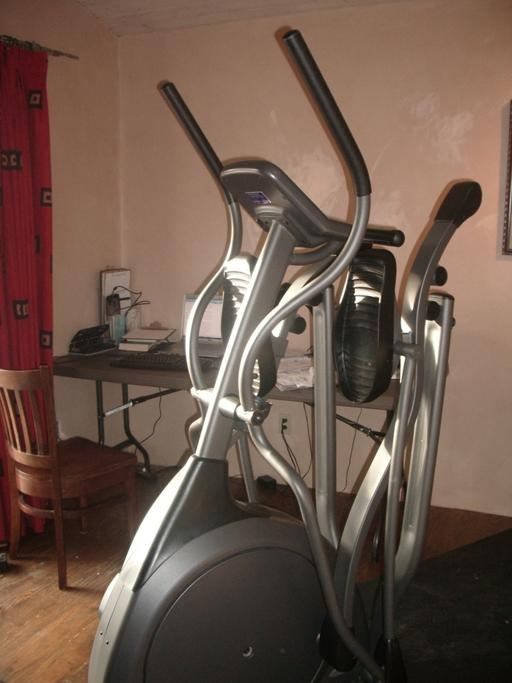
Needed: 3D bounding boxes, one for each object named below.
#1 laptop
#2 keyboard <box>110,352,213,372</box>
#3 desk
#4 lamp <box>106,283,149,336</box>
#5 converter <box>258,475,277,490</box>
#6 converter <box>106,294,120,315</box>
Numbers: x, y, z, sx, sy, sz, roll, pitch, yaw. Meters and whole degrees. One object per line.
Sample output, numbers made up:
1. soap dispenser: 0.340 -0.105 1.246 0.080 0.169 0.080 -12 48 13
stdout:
1. laptop: -0.274 -0.056 2.818 0.367 0.358 0.301 3 7 9
2. keyboard: -0.457 0.091 2.463 0.290 0.040 0.177 7 7 8
3. desk: -0.039 0.340 2.597 1.357 0.487 0.444 6 15 8
4. lamp: -0.706 -0.168 3.050 0.092 0.287 0.172 2 2 29
5. converter: 0.045 0.729 2.918 0.063 0.044 0.091 -4 8 -29
6. converter: -0.760 -0.190 3.003 0.025 0.097 0.073 8 9 35
